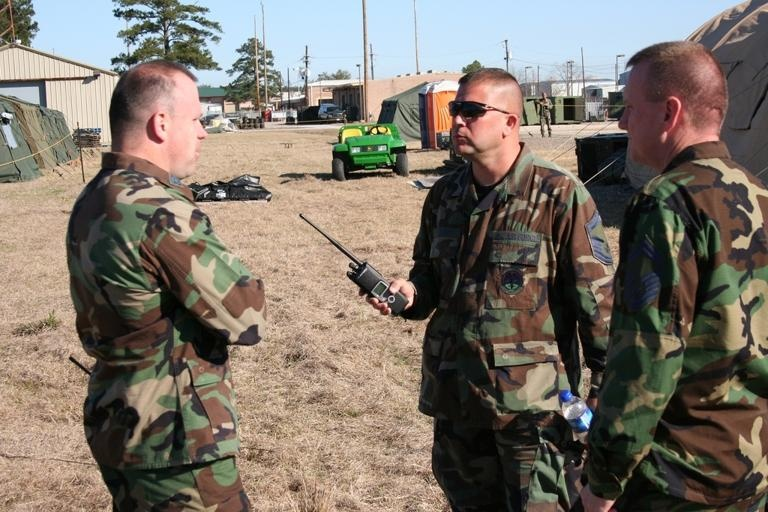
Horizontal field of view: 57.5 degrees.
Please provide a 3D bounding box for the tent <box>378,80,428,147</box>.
[{"bbox_3d":[0.806,-5.636,27.799,2.333,1.854,2.432,1,10,2],"label":"tent"}]

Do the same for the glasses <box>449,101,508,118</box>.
[{"bbox_3d":[0.431,-0.719,3.440,0.164,0.053,0.139,0,6,-8],"label":"glasses"}]

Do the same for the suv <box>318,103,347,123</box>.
[{"bbox_3d":[-3.897,-10.260,50.272,1.329,0.958,1.780,-4,11,-24],"label":"suv"}]
